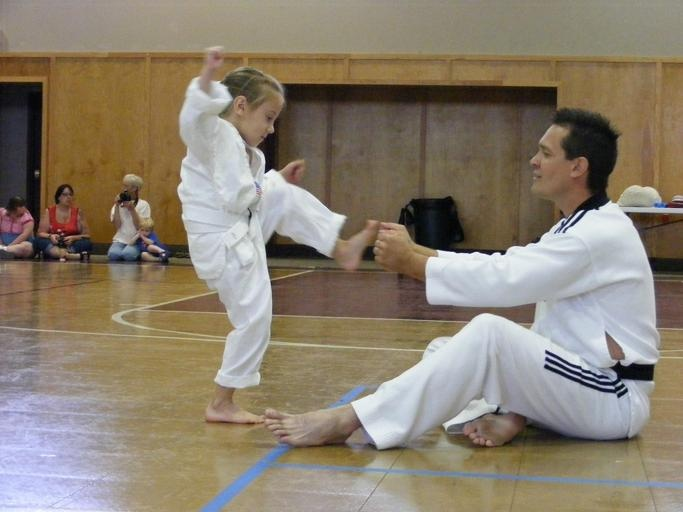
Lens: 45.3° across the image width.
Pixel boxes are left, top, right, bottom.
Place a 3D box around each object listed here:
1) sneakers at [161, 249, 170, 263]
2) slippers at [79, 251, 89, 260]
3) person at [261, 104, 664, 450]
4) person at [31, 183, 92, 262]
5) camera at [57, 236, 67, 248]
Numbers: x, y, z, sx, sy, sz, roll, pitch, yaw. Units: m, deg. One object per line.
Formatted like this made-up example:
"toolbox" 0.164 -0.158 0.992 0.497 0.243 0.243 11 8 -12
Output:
"sneakers" -1.933 0.017 8.994 0.124 0.132 0.134 -2 38 -19
"slippers" -2.866 -0.001 9.099 0.096 0.090 0.097 -1 4 21
"person" 0.413 0.078 2.771 1.273 1.060 0.699 0 1 -8
"person" -3.042 -0.370 9.009 0.497 0.815 0.531 6 9 41
"camera" -3.046 -0.152 8.890 0.083 0.127 0.044 -2 7 -22
